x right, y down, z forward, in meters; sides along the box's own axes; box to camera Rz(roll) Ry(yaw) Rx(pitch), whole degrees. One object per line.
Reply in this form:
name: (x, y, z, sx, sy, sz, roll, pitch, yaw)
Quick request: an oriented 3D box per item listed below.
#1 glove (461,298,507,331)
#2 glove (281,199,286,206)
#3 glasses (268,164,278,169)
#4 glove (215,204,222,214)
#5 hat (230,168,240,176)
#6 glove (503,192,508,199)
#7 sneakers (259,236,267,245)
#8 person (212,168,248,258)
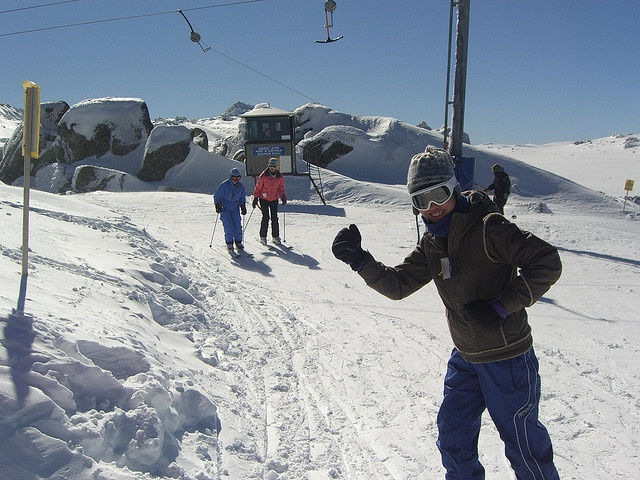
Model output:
glove: (1.376, 0.611, 4.686, 0.284, 0.224, 0.128, 20, -20, 6)
glove: (-0.904, -0.959, 14.085, 0.170, 0.224, 0.223, -2, -6, -4)
glasses: (-1.141, -1.802, 13.728, 0.138, 0.115, 0.196, 3, 9, -3)
glove: (-2.298, -0.716, 12.761, 0.177, 0.311, 0.188, -4, 14, -16)
hat: (-1.926, -1.528, 12.838, 0.171, 0.226, 0.249, 0, -10, -13)
glove: (5.031, -1.224, 15.287, 0.160, 0.125, 0.161, -2, -5, 19)
sneakers: (-1.421, 0.018, 14.258, 0.160, 0.198, 0.168, 1, 8, 30)
person: (-2.058, -0.663, 12.980, 0.679, 1.892, 1.278, -1, 14, -9)
